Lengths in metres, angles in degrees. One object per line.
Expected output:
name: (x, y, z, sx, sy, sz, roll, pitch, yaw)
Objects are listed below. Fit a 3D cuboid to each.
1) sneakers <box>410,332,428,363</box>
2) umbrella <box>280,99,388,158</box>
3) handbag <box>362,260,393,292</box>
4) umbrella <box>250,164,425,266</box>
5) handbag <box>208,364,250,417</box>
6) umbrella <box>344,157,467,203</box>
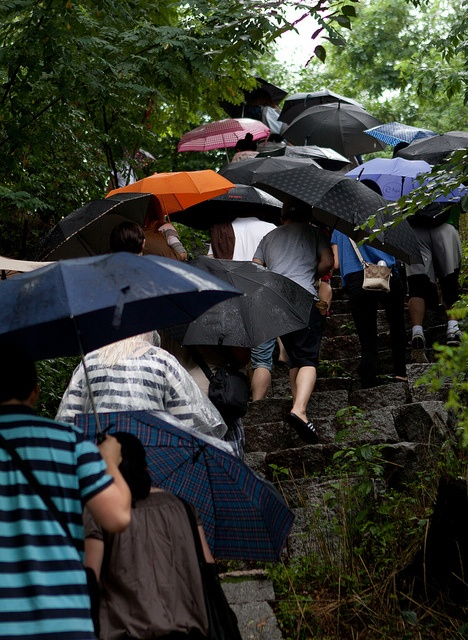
sneakers: (2.017, 0.295, 5.697, 0.140, 0.333, 0.150, -1, 10, 20)
umbrella: (1.896, -3.563, 10.038, 1.367, 0.627, 1.276, -2, 44, -5)
handbag: (1.410, -0.431, 5.139, 0.332, 0.366, 0.135, 2, -29, 3)
umbrella: (0.954, -0.984, 4.631, 1.009, 0.965, 1.318, -4, 7, -28)
handbag: (-0.032, 0.404, 2.990, 0.148, 0.261, 0.216, -30, -44, 24)
umbrella: (1.951, -1.854, 6.700, 1.689, 0.574, 1.694, 8, 14, 21)
